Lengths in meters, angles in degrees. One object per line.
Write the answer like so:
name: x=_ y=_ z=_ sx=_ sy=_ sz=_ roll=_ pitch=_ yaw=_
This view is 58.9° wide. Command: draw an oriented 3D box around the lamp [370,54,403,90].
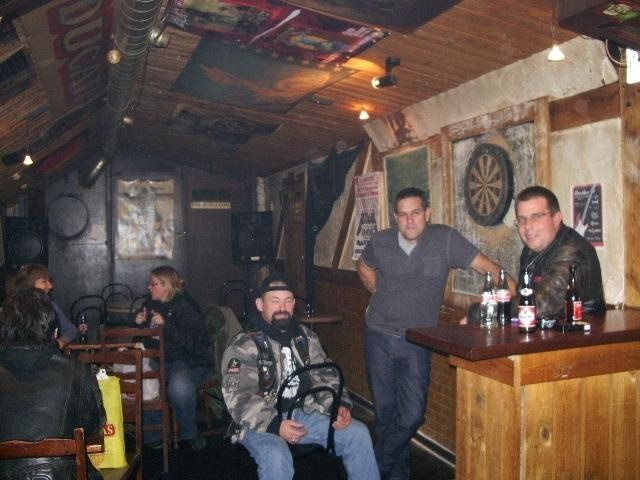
lamp: x=0.585 y=-1.451 z=4.967 sx=0.236 sy=0.243 sz=0.155 roll=-14 pitch=12 yaw=15

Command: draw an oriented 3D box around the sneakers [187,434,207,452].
sneakers: x=-1.176 y=1.944 z=5.464 sx=0.099 sy=0.093 sz=0.212 roll=4 pitch=-10 yaw=-35

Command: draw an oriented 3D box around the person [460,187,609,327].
person: x=1.705 y=0.170 z=4.667 sx=0.866 sy=1.579 sz=0.796 roll=4 pitch=-6 yaw=-11

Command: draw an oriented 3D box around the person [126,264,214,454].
person: x=-1.515 y=1.237 z=5.676 sx=0.988 sy=1.804 sz=0.949 roll=-26 pitch=-29 yaw=34
